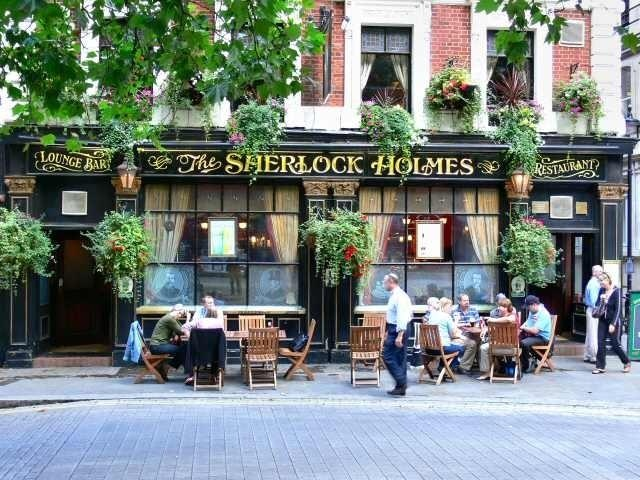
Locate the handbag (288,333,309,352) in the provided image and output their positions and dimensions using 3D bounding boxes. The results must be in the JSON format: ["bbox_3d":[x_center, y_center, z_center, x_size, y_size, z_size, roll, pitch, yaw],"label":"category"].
[{"bbox_3d":[-0.437,2.122,17.993,0.358,0.363,0.215,0,5,-3],"label":"handbag"}]

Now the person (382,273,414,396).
[{"bbox_3d":[1.435,1.796,16.496,0.505,2.256,0.706,1,6,6],"label":"person"}]

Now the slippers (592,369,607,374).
[{"bbox_3d":[5.915,2.784,18.645,0.281,0.110,0.112,2,-2,-11],"label":"slippers"}]

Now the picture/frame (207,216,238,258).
[{"bbox_3d":[-2.247,-0.073,19.989,0.926,1.147,0.086,0,1,-9],"label":"picture/frame"}]

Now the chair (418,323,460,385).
[{"bbox_3d":[2.433,2.301,18.139,0.794,1.279,1.351,1,5,8],"label":"chair"}]

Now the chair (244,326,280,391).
[{"bbox_3d":[-1.214,2.285,17.707,0.692,1.207,1.494,0,5,-5],"label":"chair"}]

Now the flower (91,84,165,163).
[{"bbox_3d":[-3.818,-2.386,18.975,1.263,1.418,0.999,-7,-3,26],"label":"flower"}]

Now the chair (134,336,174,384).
[{"bbox_3d":[-3.407,2.516,17.997,0.685,0.868,1.105,0,-1,-6],"label":"chair"}]

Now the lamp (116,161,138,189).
[{"bbox_3d":[-4.163,-1.401,18.977,0.542,0.765,0.579,0,3,-7],"label":"lamp"}]

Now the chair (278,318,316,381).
[{"bbox_3d":[-0.508,2.271,18.167,0.882,1.064,0.881,3,5,31],"label":"chair"}]

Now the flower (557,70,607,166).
[{"bbox_3d":[6.074,-2.982,20.907,1.019,1.341,1.320,8,-9,15],"label":"flower"}]

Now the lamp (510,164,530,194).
[{"bbox_3d":[4.525,-1.335,19.901,0.534,0.752,0.547,-3,3,-18],"label":"lamp"}]

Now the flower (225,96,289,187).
[{"bbox_3d":[-1.411,-2.248,19.862,1.300,1.738,0.806,15,13,7],"label":"flower"}]

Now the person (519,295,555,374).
[{"bbox_3d":[4.490,2.011,18.698,0.946,1.659,0.572,-5,7,-42],"label":"person"}]

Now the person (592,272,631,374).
[{"bbox_3d":[6.141,1.764,18.679,0.601,2.125,0.854,5,7,43],"label":"person"}]

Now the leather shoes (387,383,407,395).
[{"bbox_3d":[1.436,2.814,16.536,0.413,0.214,0.140,2,0,4],"label":"leather shoes"}]

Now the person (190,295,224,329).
[{"bbox_3d":[-2.259,1.519,17.885,0.571,0.811,0.850,1,-10,-3],"label":"person"}]

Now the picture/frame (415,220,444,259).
[{"bbox_3d":[2.496,-0.017,20.424,0.904,1.123,0.110,0,0,-8],"label":"picture/frame"}]

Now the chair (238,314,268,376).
[{"bbox_3d":[-1.266,2.190,17.998,0.500,0.854,0.515,1,3,-3],"label":"chair"}]

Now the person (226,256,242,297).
[{"bbox_3d":[-1.960,0.998,20.236,0.379,1.163,0.296,4,38,-3],"label":"person"}]
